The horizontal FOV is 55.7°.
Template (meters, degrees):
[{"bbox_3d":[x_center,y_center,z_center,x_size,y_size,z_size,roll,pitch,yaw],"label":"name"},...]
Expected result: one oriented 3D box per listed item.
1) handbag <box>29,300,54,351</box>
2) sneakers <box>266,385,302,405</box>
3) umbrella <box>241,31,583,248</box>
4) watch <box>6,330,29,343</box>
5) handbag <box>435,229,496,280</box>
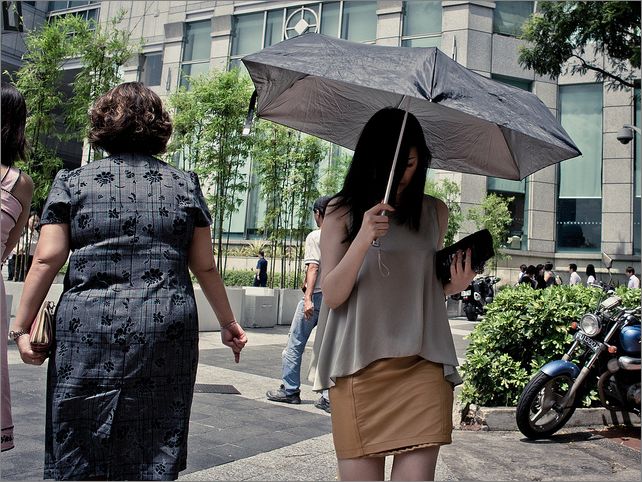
[{"bbox_3d":[-1.311,0.398,2.831,0.076,0.182,0.213,6,-5,-15],"label":"handbag"},{"bbox_3d":[-0.398,1.640,6.513,0.340,0.177,0.146,9,-10,20],"label":"sneakers"},{"bbox_3d":[0.563,-0.721,3.240,1.362,0.507,1.312,30,-16,-33],"label":"umbrella"},{"bbox_3d":[-1.463,0.442,2.913,0.102,0.039,0.082,1,2,18],"label":"watch"},{"bbox_3d":[0.721,0.047,2.954,0.326,0.170,0.078,-26,-14,23],"label":"handbag"}]
